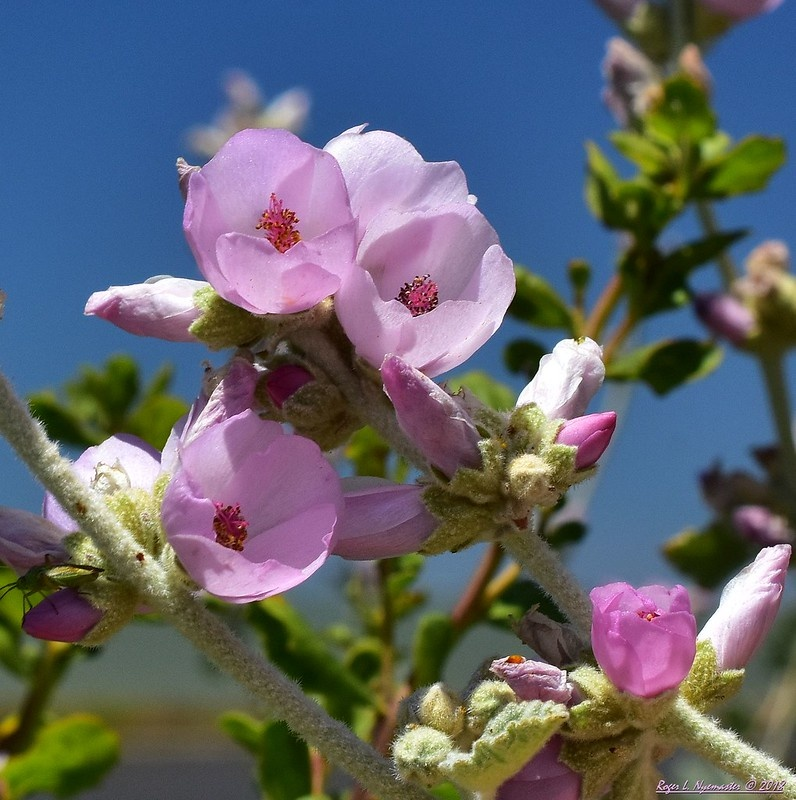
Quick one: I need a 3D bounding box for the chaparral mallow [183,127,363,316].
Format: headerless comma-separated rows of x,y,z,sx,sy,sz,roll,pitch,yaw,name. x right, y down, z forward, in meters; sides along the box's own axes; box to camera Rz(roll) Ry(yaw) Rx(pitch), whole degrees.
-0.121,-0.160,1.330,0.154,0.175,0.092,-9,16,-7,chaparral mallow

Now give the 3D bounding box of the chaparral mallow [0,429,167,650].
-0.303,0.142,1.404,0.167,0.160,0.202,-10,16,-10,chaparral mallow

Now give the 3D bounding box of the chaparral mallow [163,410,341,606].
-0.145,0.101,1.390,0.175,0.178,0.127,19,-19,-15,chaparral mallow

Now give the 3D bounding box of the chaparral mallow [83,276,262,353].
-0.217,-0.085,1.387,0.176,0.062,0.056,-3,-11,9,chaparral mallow
